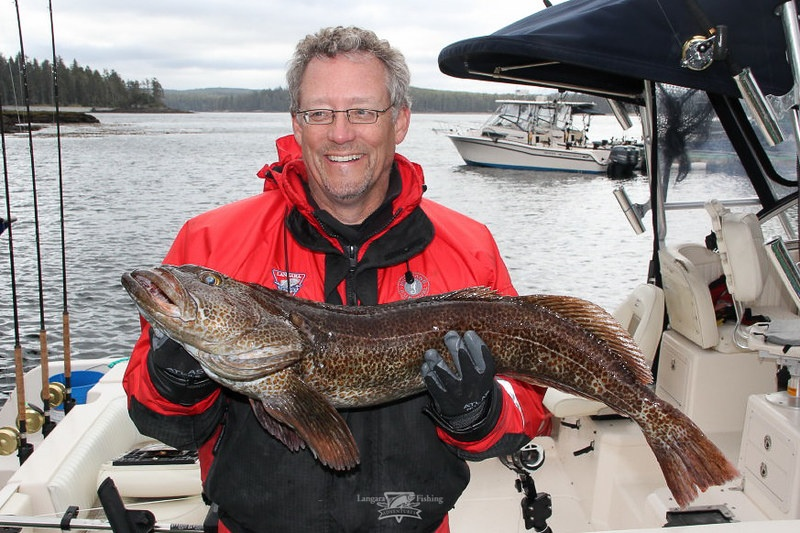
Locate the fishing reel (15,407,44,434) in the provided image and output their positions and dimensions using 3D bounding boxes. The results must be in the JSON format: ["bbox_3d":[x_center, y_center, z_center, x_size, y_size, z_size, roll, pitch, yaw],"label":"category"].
[{"bbox_3d":[-3.510,1.469,5.335,0.223,0.217,0.090,-10,14,15],"label":"fishing reel"}]
